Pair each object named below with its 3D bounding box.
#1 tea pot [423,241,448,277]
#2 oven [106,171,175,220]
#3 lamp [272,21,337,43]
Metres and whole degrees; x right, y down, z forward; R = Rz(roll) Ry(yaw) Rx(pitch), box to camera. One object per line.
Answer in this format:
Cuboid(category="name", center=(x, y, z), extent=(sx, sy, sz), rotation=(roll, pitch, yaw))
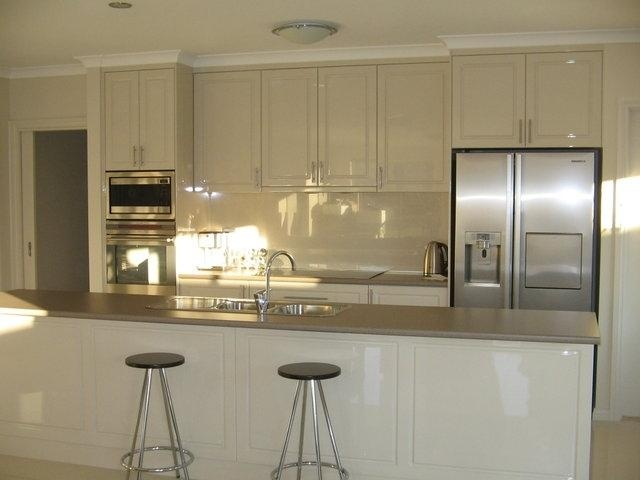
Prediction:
Cuboid(category="tea pot", center=(1.112, 0.186, 5.661), extent=(0.219, 0.329, 0.295), rotation=(0, 1, 10))
Cuboid(category="oven", center=(-1.695, -0.440, 5.945), extent=(0.755, 0.476, 0.400), rotation=(1, 4, 15))
Cuboid(category="lamp", center=(-0.112, -1.518, 4.300), extent=(0.441, 0.144, 0.233), rotation=(0, 1, -5))
